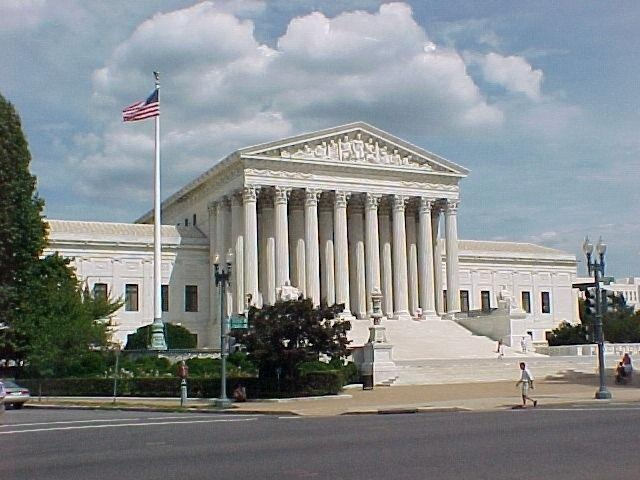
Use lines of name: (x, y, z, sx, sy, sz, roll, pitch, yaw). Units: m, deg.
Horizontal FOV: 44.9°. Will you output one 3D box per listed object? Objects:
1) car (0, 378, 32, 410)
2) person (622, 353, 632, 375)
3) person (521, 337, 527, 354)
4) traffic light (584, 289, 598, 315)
car: (-15.071, 7.650, 38.299, 1.079, 1.244, 2.942, 2, -8, -22)
person: (16.798, 6.792, 42.394, 0.428, 1.207, 0.966, -3, -8, 19)
person: (16.115, 8.266, 61.166, 0.478, 1.154, 1.968, -2, -7, 14)
traffic light: (11.969, 2.689, 34.175, 0.502, 1.163, 0.847, -3, -8, 18)
